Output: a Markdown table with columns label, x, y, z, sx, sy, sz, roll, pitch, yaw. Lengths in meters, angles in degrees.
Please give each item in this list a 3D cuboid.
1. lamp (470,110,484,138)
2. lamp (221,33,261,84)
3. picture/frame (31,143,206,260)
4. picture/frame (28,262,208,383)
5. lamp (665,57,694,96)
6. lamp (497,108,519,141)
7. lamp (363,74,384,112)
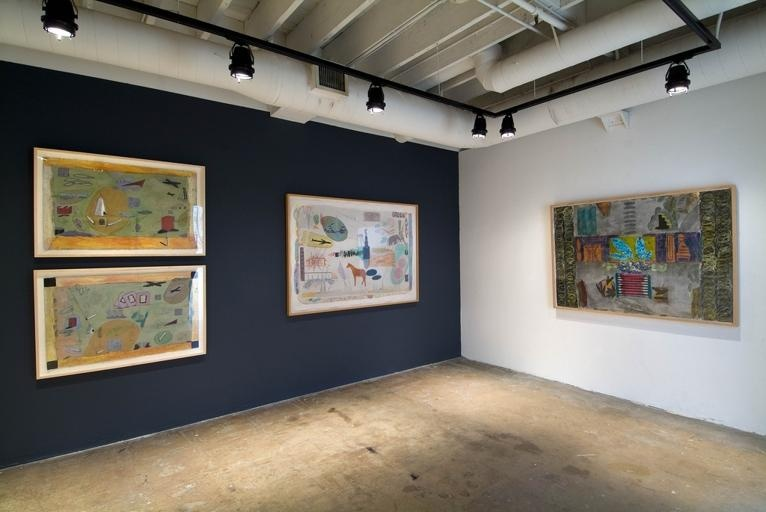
| label | x | y | z | sx | sy | sz | roll | pitch | yaw |
| --- | --- | --- | --- | --- | --- | --- | --- | --- | --- |
| lamp | 1.095 | -1.509 | 5.584 | 0.133 | 0.276 | 0.233 | 0 | 2 | 15 |
| lamp | -1.272 | -1.748 | 4.353 | 0.193 | 0.332 | 0.222 | -1 | 2 | -20 |
| picture/frame | -2.754 | -0.549 | 4.928 | 1.277 | 0.883 | 0.030 | -1 | 2 | -34 |
| picture/frame | -2.758 | 0.663 | 4.925 | 1.322 | 0.875 | 0.032 | -2 | 3 | -36 |
| lamp | 2.798 | -1.713 | 4.628 | 0.177 | 0.334 | 0.331 | 1 | 3 | 35 |
| lamp | 1.485 | -1.562 | 5.757 | 0.179 | 0.349 | 0.711 | 0 | 2 | 15 |
| lamp | -0.074 | -1.628 | 4.934 | 0.157 | 0.317 | 0.228 | 0 | 2 | 3 |
